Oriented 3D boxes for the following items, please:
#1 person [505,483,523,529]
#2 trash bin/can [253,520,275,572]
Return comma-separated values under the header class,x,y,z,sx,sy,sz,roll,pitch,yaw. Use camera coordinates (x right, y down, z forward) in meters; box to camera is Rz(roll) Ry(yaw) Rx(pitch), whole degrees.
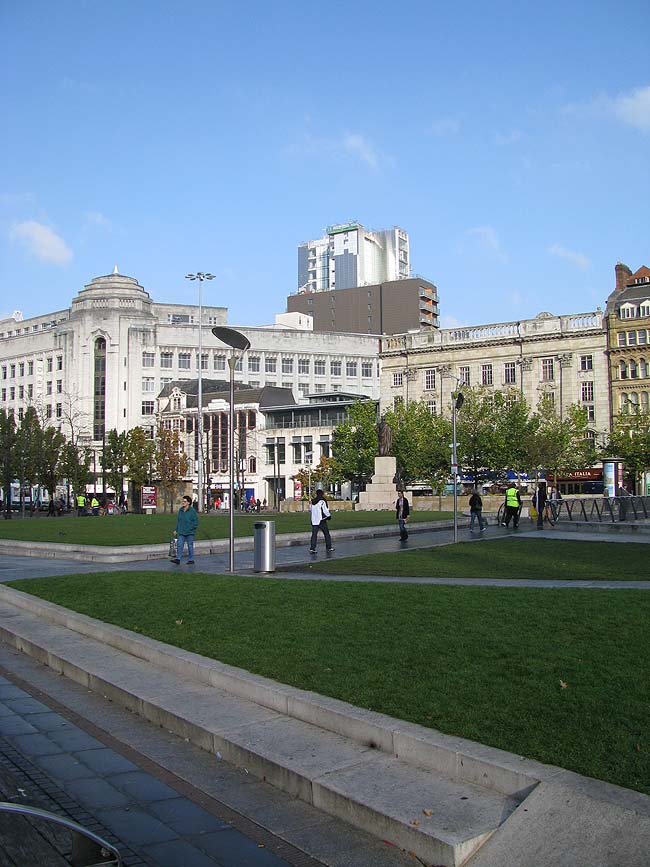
class,x,y,z,sx,sy,sz,roll,pitch,yaw
person,6.400,2.523,33.555,0.463,1.476,1.824,-2,-2,10
trash bin/can,-1.131,2.158,18.822,0.366,0.952,0.535,-1,-2,-4
